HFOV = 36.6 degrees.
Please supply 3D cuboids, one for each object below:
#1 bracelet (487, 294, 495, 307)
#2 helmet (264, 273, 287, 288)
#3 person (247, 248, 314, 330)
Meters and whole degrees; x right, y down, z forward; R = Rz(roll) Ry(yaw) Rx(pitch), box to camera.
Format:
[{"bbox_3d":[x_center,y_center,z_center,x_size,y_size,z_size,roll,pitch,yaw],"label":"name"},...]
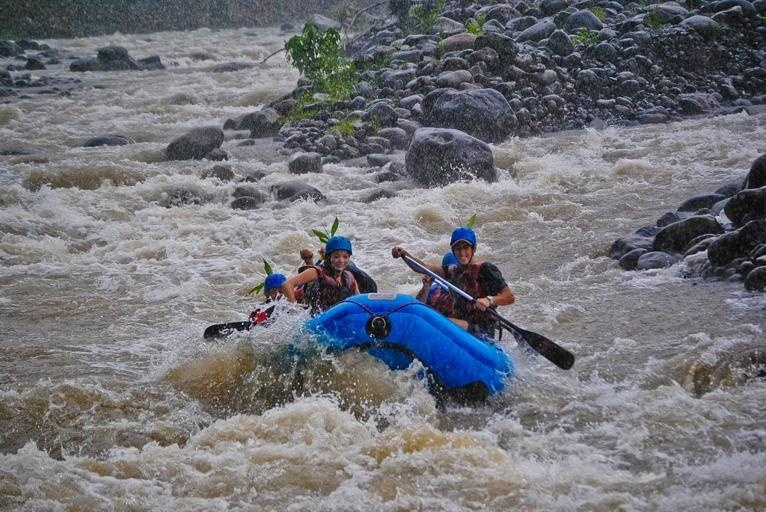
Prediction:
[{"bbox_3d":[2.267,0.945,24.848,0.133,0.176,0.193,-2,4,-24],"label":"bracelet"},{"bbox_3d":[-2.359,0.536,25.409,0.382,0.219,0.359,-13,14,-43],"label":"helmet"},{"bbox_3d":[-2.278,0.619,25.204,1.571,1.579,0.558,40,30,17],"label":"person"}]
